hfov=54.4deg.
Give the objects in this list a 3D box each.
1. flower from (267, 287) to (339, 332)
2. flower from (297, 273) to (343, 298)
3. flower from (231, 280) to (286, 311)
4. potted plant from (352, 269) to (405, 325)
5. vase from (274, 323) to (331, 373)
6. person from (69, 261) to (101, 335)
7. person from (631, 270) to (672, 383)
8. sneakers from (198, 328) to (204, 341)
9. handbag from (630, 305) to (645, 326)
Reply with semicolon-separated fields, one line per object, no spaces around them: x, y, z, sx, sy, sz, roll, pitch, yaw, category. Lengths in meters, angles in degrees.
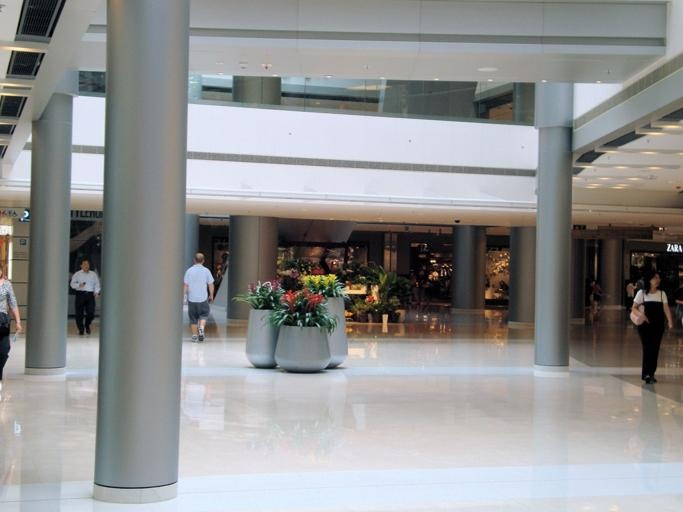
-0.694;0.929;11.240;1.016;0.627;1.086;-8;7;-34;flower
-0.301;0.569;12.283;0.490;0.275;0.484;10;5;-39;flower
-1.523;0.725;12.076;0.850;0.462;0.951;-1;-1;34;flower
1.235;1.345;21.373;1.769;1.981;1.521;1;-5;-6;potted plant
-0.665;1.551;11.187;0.748;0.677;0.791;-1;-4;32;vase
-6.284;1.017;16.247;0.624;1.214;1.460;1;-1;-22;person
5.333;1.189;11.424;0.564;1.854;1.444;1;-1;27;person
-3.168;1.790;14.943;0.107;0.306;0.125;-3;0;-7;sneakers
4.886;0.994;11.018;0.298;0.345;0.260;2;-1;-39;handbag
